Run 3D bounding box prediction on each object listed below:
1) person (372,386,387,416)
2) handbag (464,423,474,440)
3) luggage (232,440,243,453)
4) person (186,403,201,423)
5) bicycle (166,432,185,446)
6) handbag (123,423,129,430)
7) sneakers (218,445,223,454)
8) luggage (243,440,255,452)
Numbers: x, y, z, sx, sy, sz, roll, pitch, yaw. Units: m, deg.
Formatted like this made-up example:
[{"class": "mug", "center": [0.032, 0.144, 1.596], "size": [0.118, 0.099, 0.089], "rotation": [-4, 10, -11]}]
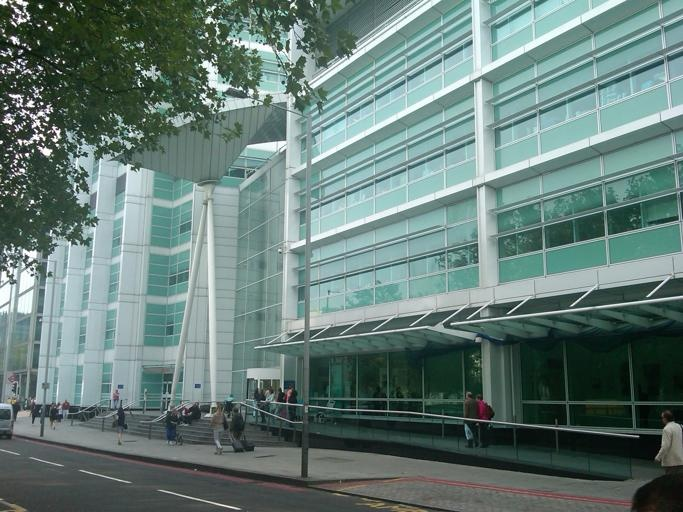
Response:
[{"class": "person", "center": [1.861, 6.964, 33.751], "size": [0.330, 1.158, 1.093], "rotation": [6, -18, -18]}, {"class": "handbag", "center": [4.242, 5.923, 22.874], "size": [0.208, 0.455, 0.440], "rotation": [3, 30, -1]}, {"class": "luggage", "center": [-4.246, 7.734, 27.715], "size": [0.374, 0.321, 0.629], "rotation": [14, 18, -32]}, {"class": "person", "center": [-7.210, 7.642, 33.336], "size": [0.578, 0.936, 1.032], "rotation": [9, -19, -28]}, {"class": "bicycle", "center": [-7.821, 8.573, 32.010], "size": [0.574, 0.521, 0.872], "rotation": [-4, -16, 12]}, {"class": "handbag", "center": [-12.791, 10.061, 40.316], "size": [0.184, 0.400, 0.982], "rotation": [6, -17, -19]}, {"class": "sneakers", "center": [-4.707, 7.598, 26.573], "size": [0.166, 0.396, 0.185], "rotation": [2, 0, -14]}, {"class": "luggage", "center": [-3.854, 7.789, 28.025], "size": [0.590, 0.478, 0.323], "rotation": [0, -5, -5]}]
